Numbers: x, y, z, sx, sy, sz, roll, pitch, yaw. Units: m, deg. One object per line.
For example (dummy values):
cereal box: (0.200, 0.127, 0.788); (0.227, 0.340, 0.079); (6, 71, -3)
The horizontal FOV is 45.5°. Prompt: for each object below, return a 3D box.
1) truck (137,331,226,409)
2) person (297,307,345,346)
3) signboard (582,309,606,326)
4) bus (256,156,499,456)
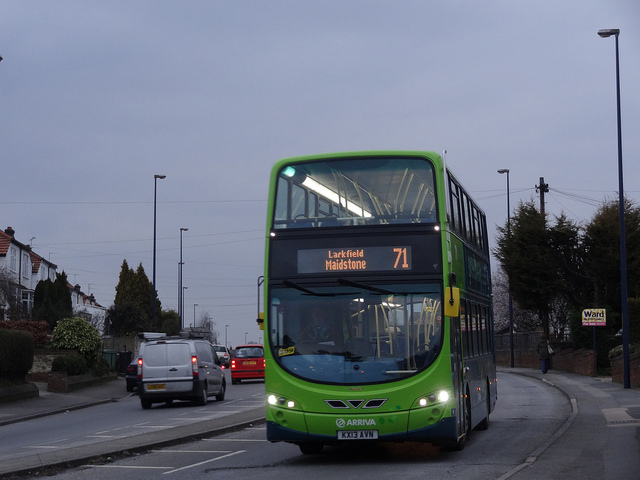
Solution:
truck: (-4.770, 4.676, 27.791); (1.829, 1.737, 3.644); (-2, -4, 8)
person: (-0.007, 1.654, 14.019); (0.538, 0.824, 0.299); (-1, 1, 6)
signboard: (12.082, 3.377, 33.719); (0.670, 0.543, 0.101); (-2, -10, 6)
bus: (1.223, 1.330, 15.693); (4.135, 5.792, 3.918); (-2, -8, 7)
